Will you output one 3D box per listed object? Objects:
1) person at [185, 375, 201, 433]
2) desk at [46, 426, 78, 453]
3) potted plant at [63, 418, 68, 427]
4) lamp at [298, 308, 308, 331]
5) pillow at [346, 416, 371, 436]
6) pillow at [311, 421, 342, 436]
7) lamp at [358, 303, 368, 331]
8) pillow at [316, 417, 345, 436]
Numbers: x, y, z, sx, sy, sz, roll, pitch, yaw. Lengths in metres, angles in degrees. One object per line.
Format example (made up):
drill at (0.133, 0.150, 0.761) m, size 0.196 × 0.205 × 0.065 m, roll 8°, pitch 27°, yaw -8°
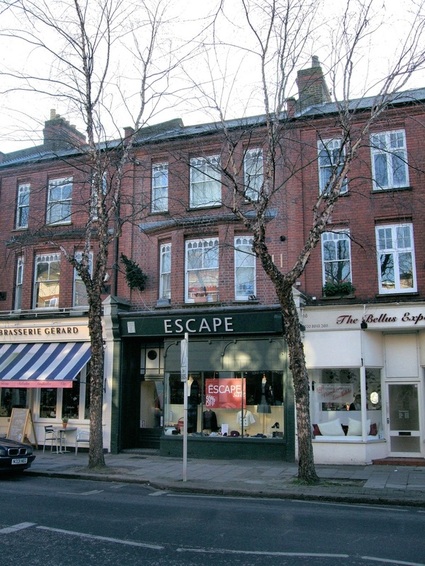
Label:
person at (-0.578, 3.769, 17.773) m, size 0.425 × 1.731 × 0.275 m, roll -1°, pitch -12°, yaw -3°
desk at (-4.934, 5.146, 18.849) m, size 1.122 × 0.991 × 1.095 m, roll 0°, pitch -7°, yaw 3°
potted plant at (-4.975, 4.695, 19.261) m, size 0.238 × 0.280 × 0.202 m, roll 1°, pitch -13°, yaw -6°
lamp at (2.594, 1.087, 16.699) m, size 0.153 × 0.674 × 0.356 m, roll -8°, pitch -13°, yaw 28°
pillow at (4.113, 4.017, 16.034) m, size 0.589 × 0.484 × 0.216 m, roll -3°, pitch -35°, yaw 21°
pillow at (3.306, 4.166, 16.349) m, size 0.543 × 0.508 × 0.205 m, roll -14°, pitch -51°, yaw 14°
lamp at (4.228, 0.971, 16.144) m, size 0.155 × 0.666 × 0.242 m, roll 6°, pitch -14°, yaw -33°
pillow at (3.387, 4.133, 16.319) m, size 0.548 × 0.505 × 0.206 m, roll -5°, pitch -44°, yaw 14°
